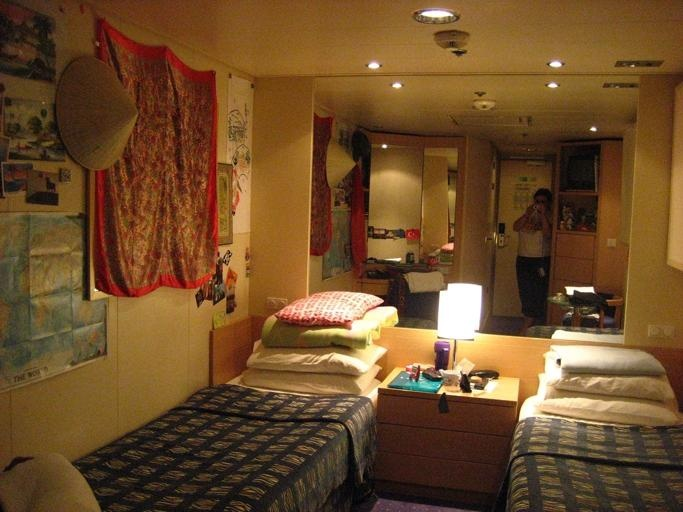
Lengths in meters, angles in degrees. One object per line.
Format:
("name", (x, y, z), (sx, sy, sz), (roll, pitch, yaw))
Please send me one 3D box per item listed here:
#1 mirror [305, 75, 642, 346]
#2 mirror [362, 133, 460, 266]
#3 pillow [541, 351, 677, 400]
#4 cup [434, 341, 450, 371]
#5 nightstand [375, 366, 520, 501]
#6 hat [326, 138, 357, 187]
("mirror", (1.050, -0.323, 3.826), (1.837, 1.685, 0.654), (1, 9, 9))
("mirror", (0.550, -0.418, 3.945), (0.933, 1.288, 0.071), (1, -5, 7))
("pillow", (1.674, 0.747, 3.369), (0.476, 0.139, 0.445), (1, 2, 16))
("cup", (0.725, 0.718, 3.827), (0.110, 0.191, 0.184), (1, 5, -1))
("nightstand", (0.663, 1.179, 3.686), (1.136, 1.009, 0.646), (4, 9, 11))
("hat", (0.006, -0.741, 4.115), (0.337, 0.331, 0.183), (-1, 10, 23))
